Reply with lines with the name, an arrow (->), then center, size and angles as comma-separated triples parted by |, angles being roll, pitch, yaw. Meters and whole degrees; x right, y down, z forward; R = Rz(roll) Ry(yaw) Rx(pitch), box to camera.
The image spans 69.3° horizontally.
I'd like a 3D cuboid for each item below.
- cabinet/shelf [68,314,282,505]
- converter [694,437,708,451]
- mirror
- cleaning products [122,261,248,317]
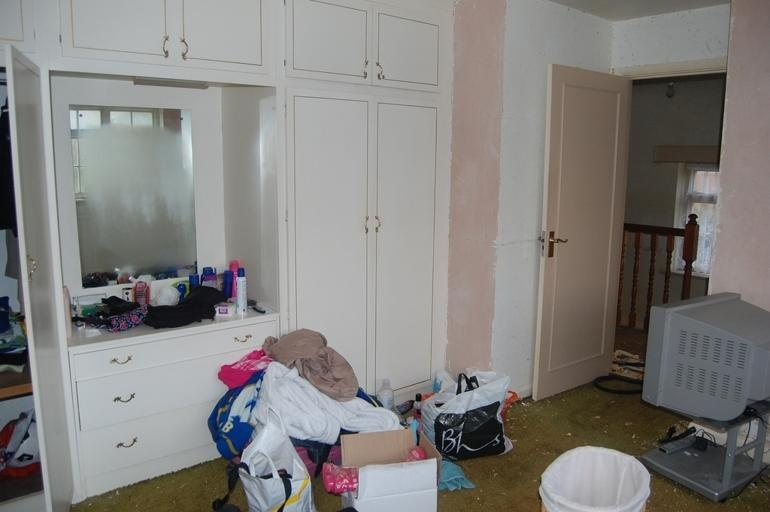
cabinet/shelf -> -1.383, 1.002, 3.543 | 1.068, 0.823, 0.405 | -7, 8, -33
converter -> 2.225, 1.323, 3.915 | 0.084, 0.083, 0.020 | -2, -5, 8
mirror -> -1.735, -0.476, 3.810 | 1.398, 1.966, 0.029 | -4, 11, -28
cleaning products -> -1.311, 0.222, 3.816 | 0.552, 0.227, 0.396 | -7, 10, -28
